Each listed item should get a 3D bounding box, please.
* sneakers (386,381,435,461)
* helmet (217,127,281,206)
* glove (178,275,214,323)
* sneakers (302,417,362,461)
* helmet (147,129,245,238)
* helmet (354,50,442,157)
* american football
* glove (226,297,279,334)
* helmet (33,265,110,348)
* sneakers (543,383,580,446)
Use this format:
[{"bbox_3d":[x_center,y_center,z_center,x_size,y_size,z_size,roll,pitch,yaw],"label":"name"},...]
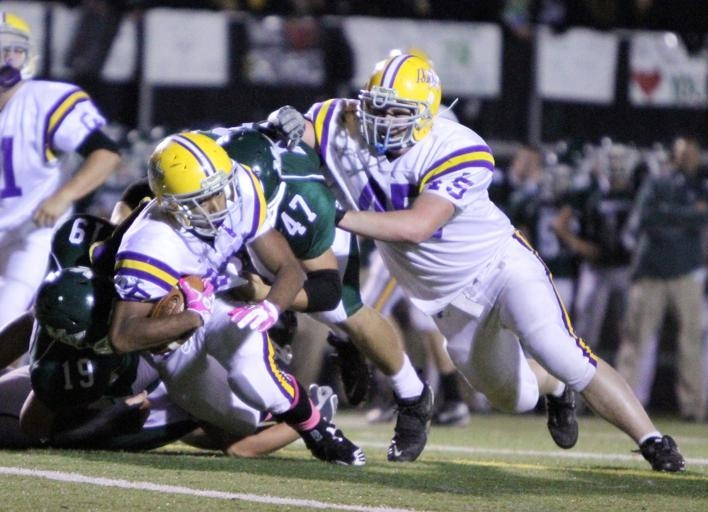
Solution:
[{"bbox_3d":[0.275,0.816,5.004,0.137,0.413,0.169,-5,-29,38],"label":"sneakers"},{"bbox_3d":[-0.437,-0.411,4.722,0.240,0.328,0.321,-23,-30,31],"label":"helmet"},{"bbox_3d":[-0.662,0.189,4.421,0.074,0.139,0.182,-22,-38,16],"label":"glove"},{"bbox_3d":[-0.108,0.865,4.885,0.319,0.116,0.142,40,5,-6],"label":"sneakers"},{"bbox_3d":[-0.697,-0.332,4.515,0.453,0.389,0.342,22,43,39],"label":"helmet"},{"bbox_3d":[0.220,-0.740,4.974,0.358,0.425,0.497,10,18,16],"label":"helmet"},{"bbox_3d":[-0.739,0.226,4.432,0.117,0.303,0.214,39,2,-15],"label":"american football"},{"bbox_3d":[-0.409,0.268,4.366,0.173,0.124,0.065,-31,-10,-23],"label":"glove"},{"bbox_3d":[-1.222,0.253,4.554,0.406,0.423,0.333,-1,14,-21],"label":"helmet"},{"bbox_3d":[1.042,0.835,5.346,0.115,0.362,0.147,-11,-10,33],"label":"sneakers"}]
